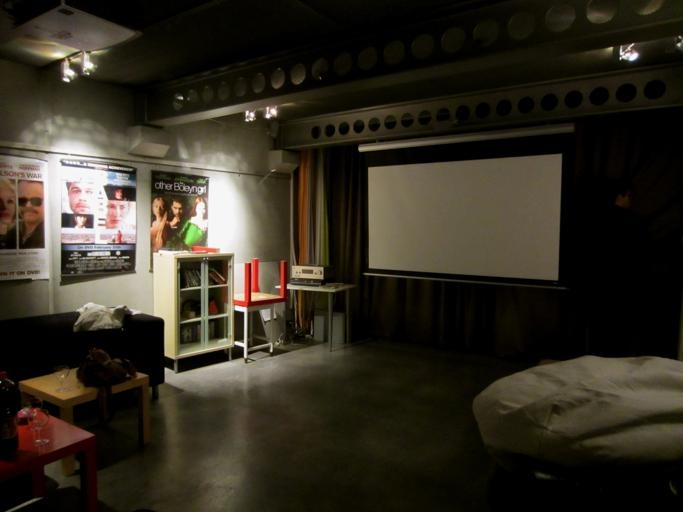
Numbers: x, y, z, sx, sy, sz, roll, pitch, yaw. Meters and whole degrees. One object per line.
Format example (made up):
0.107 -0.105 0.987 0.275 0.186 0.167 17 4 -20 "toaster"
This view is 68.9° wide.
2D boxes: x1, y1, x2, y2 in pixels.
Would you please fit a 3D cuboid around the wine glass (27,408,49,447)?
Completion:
-1.949 1.061 3.183 0.106 0.207 0.290 -6 12 -33 "wine glass"

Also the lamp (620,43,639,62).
2.415 -1.697 4.187 0.147 0.137 0.260 5 11 26 "lamp"

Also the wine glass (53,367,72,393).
-2.122 0.894 3.741 0.089 0.191 0.320 -6 12 -31 "wine glass"

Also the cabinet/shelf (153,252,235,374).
-1.623 0.535 5.525 0.443 1.210 0.706 11 12 44 "cabinet/shelf"

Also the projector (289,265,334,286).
-0.391 0.232 6.174 0.546 0.234 0.309 1 10 2 "projector"

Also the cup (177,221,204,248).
-1.754 -0.243 5.821 0.251 0.287 0.253 1 -3 0 "cup"

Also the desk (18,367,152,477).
-1.981 1.087 3.851 0.798 0.635 0.798 1 2 37 "desk"
